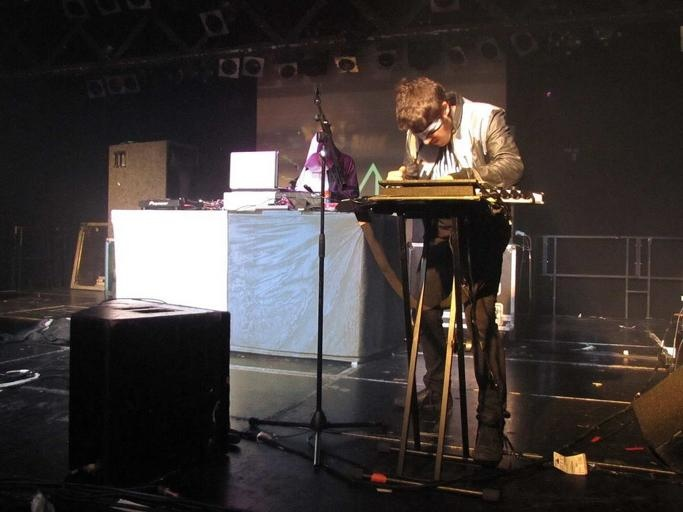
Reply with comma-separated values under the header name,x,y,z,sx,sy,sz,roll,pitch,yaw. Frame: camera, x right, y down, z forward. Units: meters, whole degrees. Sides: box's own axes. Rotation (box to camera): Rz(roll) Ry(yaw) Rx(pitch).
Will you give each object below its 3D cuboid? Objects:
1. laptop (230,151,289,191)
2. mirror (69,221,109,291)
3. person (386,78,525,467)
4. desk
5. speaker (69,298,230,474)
name,x,y,z,sx,sy,sz,roll,pitch,yaw
laptop,-0.807,-0.821,6.835,0.382,0.406,0.094,0,-1,14
mirror,-4.048,-0.004,11.322,0.944,1.207,0.078,4,2,24
person,0.744,0.048,4.746,0.843,2.420,0.853,4,13,14
desk,-0.656,0.502,6.763,2.342,1.292,1.343,3,6,21
speaker,-1.195,0.870,4.657,0.986,1.459,0.976,0,2,-44
